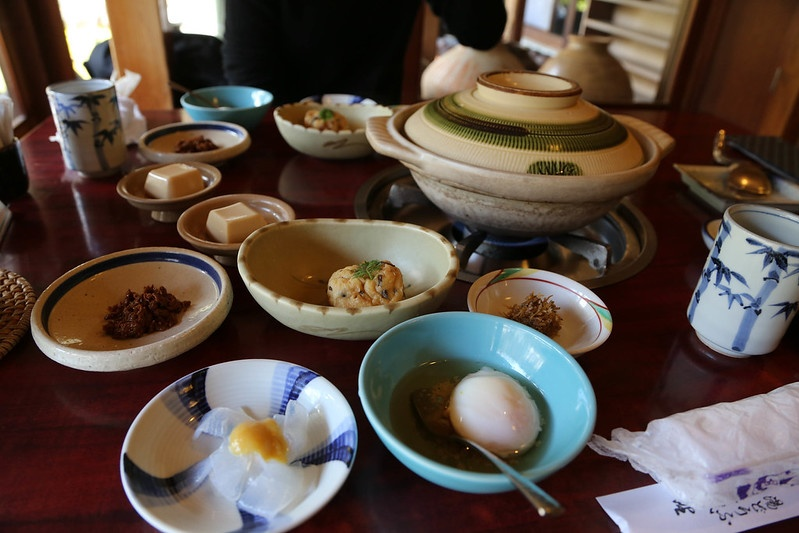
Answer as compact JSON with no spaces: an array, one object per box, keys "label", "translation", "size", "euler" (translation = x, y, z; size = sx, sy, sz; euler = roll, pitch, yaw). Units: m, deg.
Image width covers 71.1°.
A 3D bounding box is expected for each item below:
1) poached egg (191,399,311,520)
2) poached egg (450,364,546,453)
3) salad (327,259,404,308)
[{"label":"poached egg","translation":[-0.262,0.351,1.034],"size":[0.172,0.065,0.175],"euler":[32,42,21]},{"label":"poached egg","translation":[0.187,0.280,1.085],"size":[0.134,0.044,0.146],"euler":[16,54,5]},{"label":"salad","translation":[-0.076,0.047,1.276],"size":[0.181,0.075,0.141],"euler":[-3,44,-1]}]
